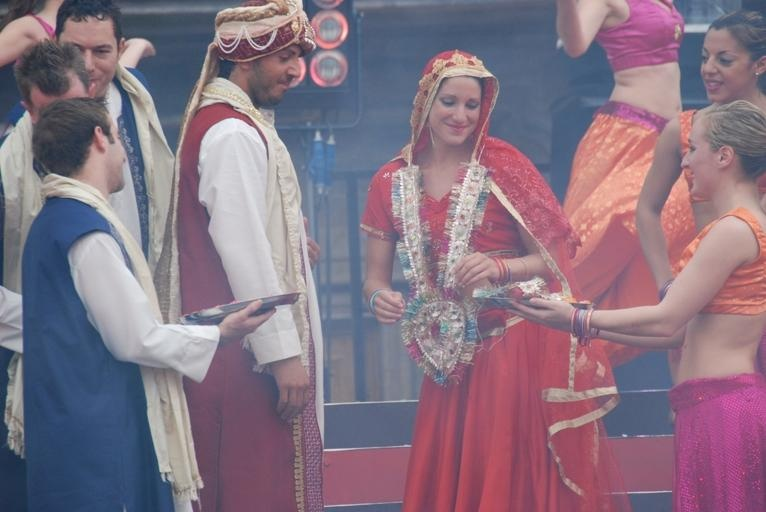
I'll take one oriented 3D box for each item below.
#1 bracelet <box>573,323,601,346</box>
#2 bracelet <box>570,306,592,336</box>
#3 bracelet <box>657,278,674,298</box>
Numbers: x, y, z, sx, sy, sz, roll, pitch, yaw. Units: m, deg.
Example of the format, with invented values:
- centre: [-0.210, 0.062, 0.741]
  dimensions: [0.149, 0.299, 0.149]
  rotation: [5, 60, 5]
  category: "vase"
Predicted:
- centre: [0.843, 0.329, 9.246]
  dimensions: [0.077, 0.045, 0.094]
  rotation: [-1, 16, -4]
  category: "bracelet"
- centre: [0.820, 0.274, 9.174]
  dimensions: [0.119, 0.106, 0.096]
  rotation: [2, -2, 9]
  category: "bracelet"
- centre: [1.211, 0.142, 9.519]
  dimensions: [0.072, 0.071, 0.085]
  rotation: [-4, -44, -5]
  category: "bracelet"
